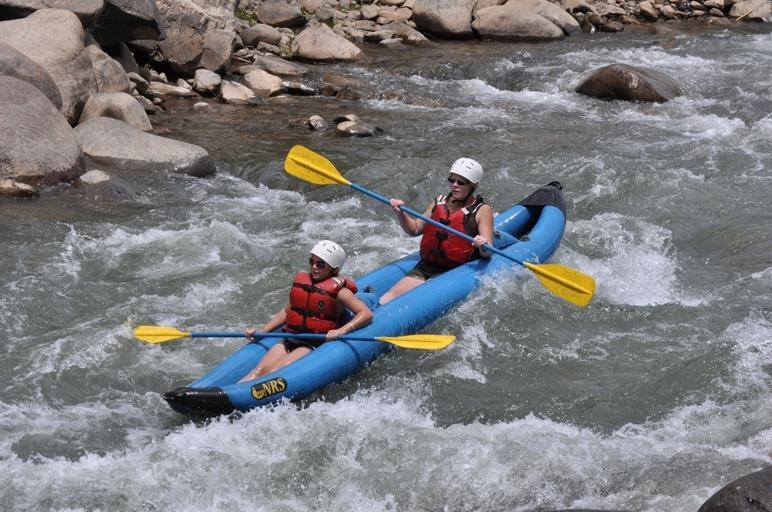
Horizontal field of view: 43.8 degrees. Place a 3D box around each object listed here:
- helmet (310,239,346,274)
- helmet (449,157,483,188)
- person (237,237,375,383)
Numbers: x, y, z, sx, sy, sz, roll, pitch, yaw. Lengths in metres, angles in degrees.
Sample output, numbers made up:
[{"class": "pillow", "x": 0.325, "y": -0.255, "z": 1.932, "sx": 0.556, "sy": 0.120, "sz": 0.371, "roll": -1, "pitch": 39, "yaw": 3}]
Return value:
[{"class": "helmet", "x": -0.637, "y": 0.000, "z": 10.705, "sx": 0.340, "sy": 0.276, "sz": 0.265, "roll": 14, "pitch": 35, "yaw": 8}, {"class": "helmet", "x": 0.992, "y": -1.004, "z": 11.749, "sx": 0.358, "sy": 0.266, "sz": 0.448, "roll": 27, "pitch": 16, "yaw": 30}, {"class": "person", "x": -0.994, "y": 0.487, "z": 10.813, "sx": 1.956, "sy": 0.974, "sz": 1.338, "roll": -23, "pitch": 35, "yaw": -38}]
